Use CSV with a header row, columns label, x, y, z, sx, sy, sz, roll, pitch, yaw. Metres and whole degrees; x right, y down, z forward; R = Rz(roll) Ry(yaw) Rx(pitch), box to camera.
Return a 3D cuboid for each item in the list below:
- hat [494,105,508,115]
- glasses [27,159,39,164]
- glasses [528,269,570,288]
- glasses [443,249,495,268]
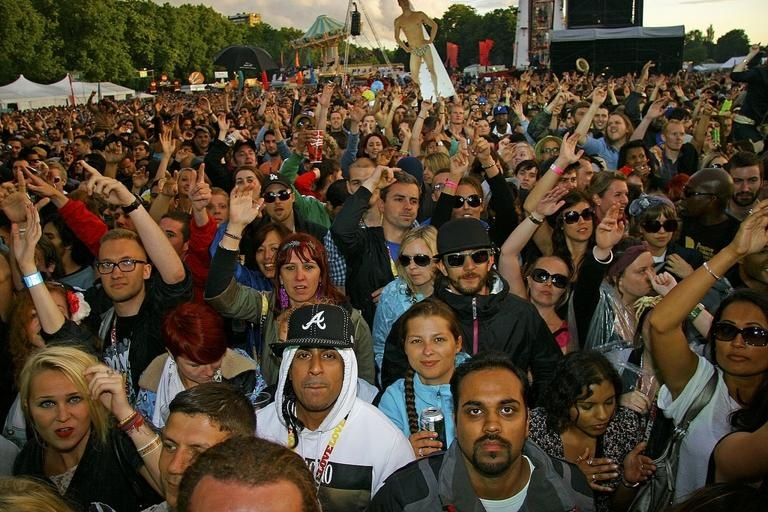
label,x,y,z,sx,sy,sz,roll,pitch,yaw
hat,2.709,-3.393,14.283,0.314,0.160,0.448,-3,27,7
glasses,-6.334,-1.699,11.000,0.177,0.071,0.181,0,0,-1
glasses,1.658,0.205,6.137,0.368,0.194,0.145,0,17,14
glasses,0.790,0.001,5.711,0.468,0.148,0.131,-7,17,-10
